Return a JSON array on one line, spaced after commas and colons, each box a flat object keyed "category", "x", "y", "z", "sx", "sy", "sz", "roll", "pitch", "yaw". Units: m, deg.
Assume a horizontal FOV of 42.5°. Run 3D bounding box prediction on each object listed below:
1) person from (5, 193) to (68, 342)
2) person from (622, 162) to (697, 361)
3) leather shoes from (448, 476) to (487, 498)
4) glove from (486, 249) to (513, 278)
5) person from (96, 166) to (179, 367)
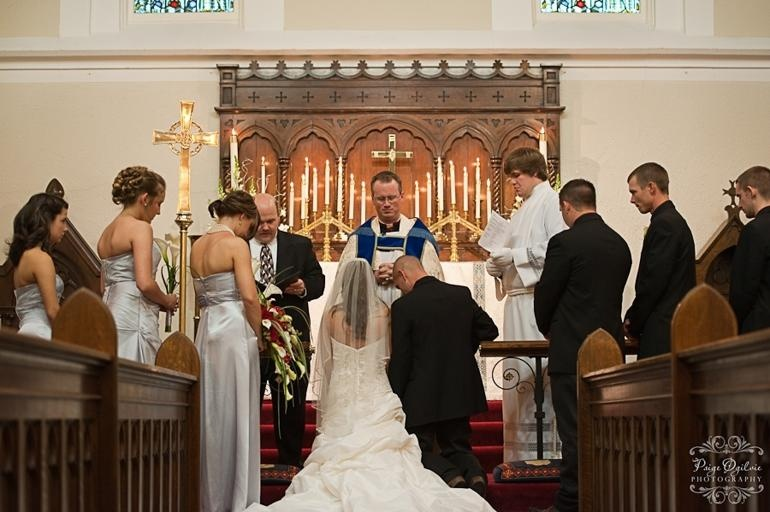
[{"category": "person", "x": -2.993, "y": 0.087, "z": 8.509, "sx": 0.457, "sy": 1.207, "sz": 0.303, "roll": 0, "pitch": -6, "yaw": -11}, {"category": "person", "x": 2.284, "y": 0.012, "z": 8.426, "sx": 0.605, "sy": 1.696, "sz": 0.479, "roll": -4, "pitch": -7, "yaw": 21}, {"category": "leather shoes", "x": 0.680, "y": 1.891, "z": 8.129, "sx": 0.375, "sy": 0.175, "sz": 0.232, "roll": 1, "pitch": -7, "yaw": -23}, {"category": "glove", "x": 1.068, "y": 0.070, "z": 9.396, "sx": 0.255, "sy": 0.193, "sz": 0.115, "roll": -42, "pitch": 20, "yaw": -33}, {"category": "person", "x": -2.081, "y": 0.077, "z": 8.297, "sx": 0.632, "sy": 1.624, "sz": 0.453, "roll": 0, "pitch": -6, "yaw": -15}]
